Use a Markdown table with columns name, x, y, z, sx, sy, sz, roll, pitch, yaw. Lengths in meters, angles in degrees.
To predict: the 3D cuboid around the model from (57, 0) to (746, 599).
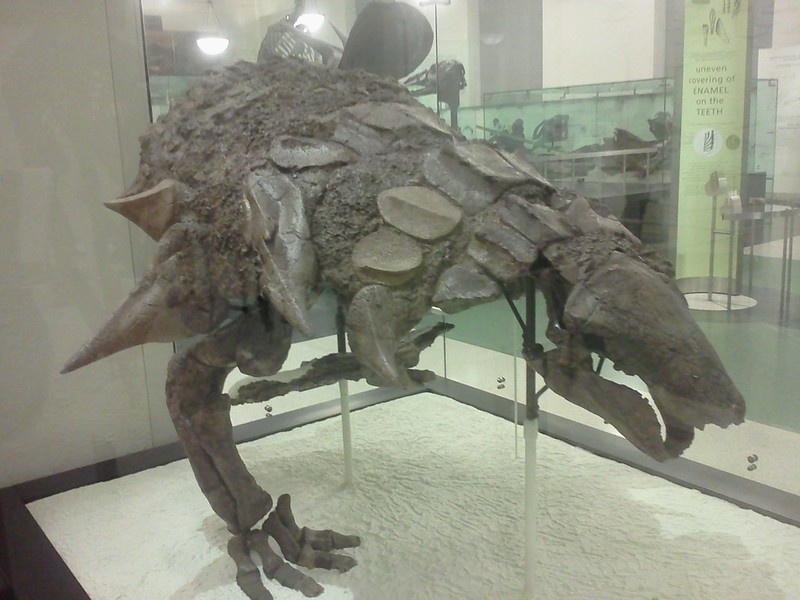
| name | x | y | z | sx | sy | sz | roll | pitch | yaw |
| --- | --- | --- | --- | --- | --- | --- | --- | --- | --- |
| model | -0.075 | -0.183 | 3.447 | 2.551 | 1.926 | 1.775 | 9 | 28 | 12 |

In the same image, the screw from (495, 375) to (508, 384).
| name | x | y | z | sx | sy | sz | roll | pitch | yaw |
| --- | --- | --- | --- | --- | --- | --- | --- | --- | --- |
| screw | 0.384 | 0.302 | 3.056 | 0.032 | 0.030 | 0.008 | 5 | 30 | 15 |

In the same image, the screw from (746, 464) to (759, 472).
| name | x | y | z | sx | sy | sz | roll | pitch | yaw |
| --- | --- | --- | --- | --- | --- | --- | --- | --- | --- |
| screw | 1.457 | 0.696 | 3.293 | 0.033 | 0.033 | 0.010 | 18 | 22 | 28 |

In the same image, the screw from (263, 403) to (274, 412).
| name | x | y | z | sx | sy | sz | roll | pitch | yaw |
| --- | --- | --- | --- | --- | --- | --- | --- | --- | --- |
| screw | -0.551 | 0.449 | 3.342 | 0.031 | 0.031 | 0.007 | 35 | 11 | -25 |

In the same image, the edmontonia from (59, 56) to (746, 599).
| name | x | y | z | sx | sy | sz | roll | pitch | yaw |
| --- | --- | --- | --- | --- | --- | --- | --- | --- | --- |
| edmontonia | -0.079 | 0.124 | 2.763 | 2.025 | 1.877 | 0.641 | 2 | 17 | 15 |
